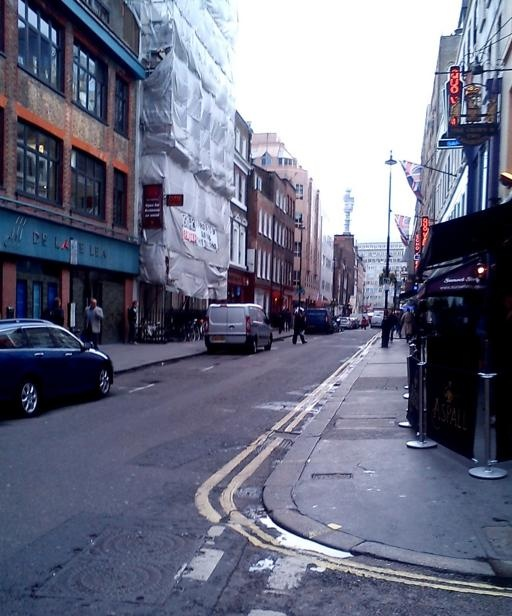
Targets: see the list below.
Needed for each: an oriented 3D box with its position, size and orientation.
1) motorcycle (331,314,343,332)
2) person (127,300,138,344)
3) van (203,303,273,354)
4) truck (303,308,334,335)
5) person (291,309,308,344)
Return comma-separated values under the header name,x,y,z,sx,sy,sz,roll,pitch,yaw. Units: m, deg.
name,x,y,z,sx,sy,sz,roll,pitch,yaw
motorcycle,7.550,1.669,58.641,0.947,1.385,2.123,1,7,7
person,-5.130,0.697,26.118,0.397,2.177,0.581,-4,23,-13
van,-0.559,0.726,23.959,1.087,1.617,2.597,-1,1,14
truck,5.073,1.106,49.445,1.266,1.963,2.923,0,7,14
person,2.463,1.168,35.746,0.841,3.149,0.769,10,17,40
